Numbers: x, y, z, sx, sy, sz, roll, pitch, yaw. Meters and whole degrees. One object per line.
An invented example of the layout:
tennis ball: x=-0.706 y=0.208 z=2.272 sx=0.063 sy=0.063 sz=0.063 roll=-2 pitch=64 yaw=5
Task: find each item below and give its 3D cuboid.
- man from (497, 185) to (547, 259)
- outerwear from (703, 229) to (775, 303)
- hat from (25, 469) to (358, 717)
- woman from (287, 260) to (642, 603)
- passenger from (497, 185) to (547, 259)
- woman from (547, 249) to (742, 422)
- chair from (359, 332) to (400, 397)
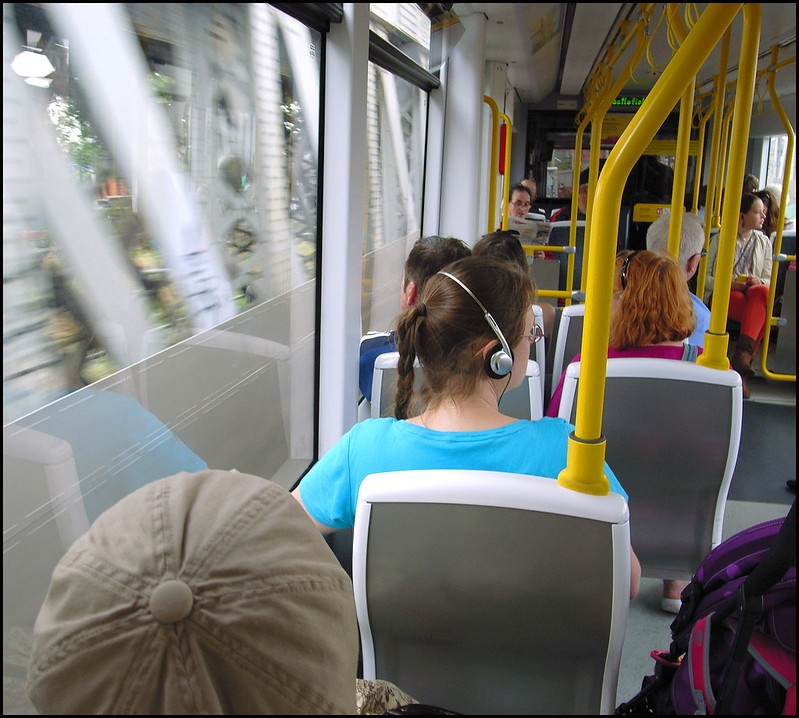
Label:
man: x=1.437 y=-1.520 z=6.567 sx=0.644 sy=1.065 sz=0.332 roll=-4 pitch=10 yaw=-12
outerwear: x=3.454 y=-0.910 z=5.742 sx=0.618 sy=0.836 sz=0.433 roll=6 pitch=2 yaw=22
hat: x=-0.190 y=0.233 z=0.542 sx=0.288 sy=0.174 sz=0.196 roll=-2 pitch=18 yaw=-3
woman: x=0.069 y=0.410 z=1.374 sx=0.709 sy=1.276 sz=0.381 roll=2 pitch=16 yaw=3
passenger: x=1.427 y=-1.659 z=6.649 sx=0.643 sy=1.066 sz=0.332 roll=-4 pitch=10 yaw=-12
woman: x=0.980 y=-0.104 z=2.208 sx=0.584 sy=0.695 sz=0.300 roll=-1 pitch=20 yaw=25
chair: x=-0.115 y=-0.003 z=2.479 sx=0.163 sy=0.307 sz=0.273 roll=-1 pitch=46 yaw=-3
